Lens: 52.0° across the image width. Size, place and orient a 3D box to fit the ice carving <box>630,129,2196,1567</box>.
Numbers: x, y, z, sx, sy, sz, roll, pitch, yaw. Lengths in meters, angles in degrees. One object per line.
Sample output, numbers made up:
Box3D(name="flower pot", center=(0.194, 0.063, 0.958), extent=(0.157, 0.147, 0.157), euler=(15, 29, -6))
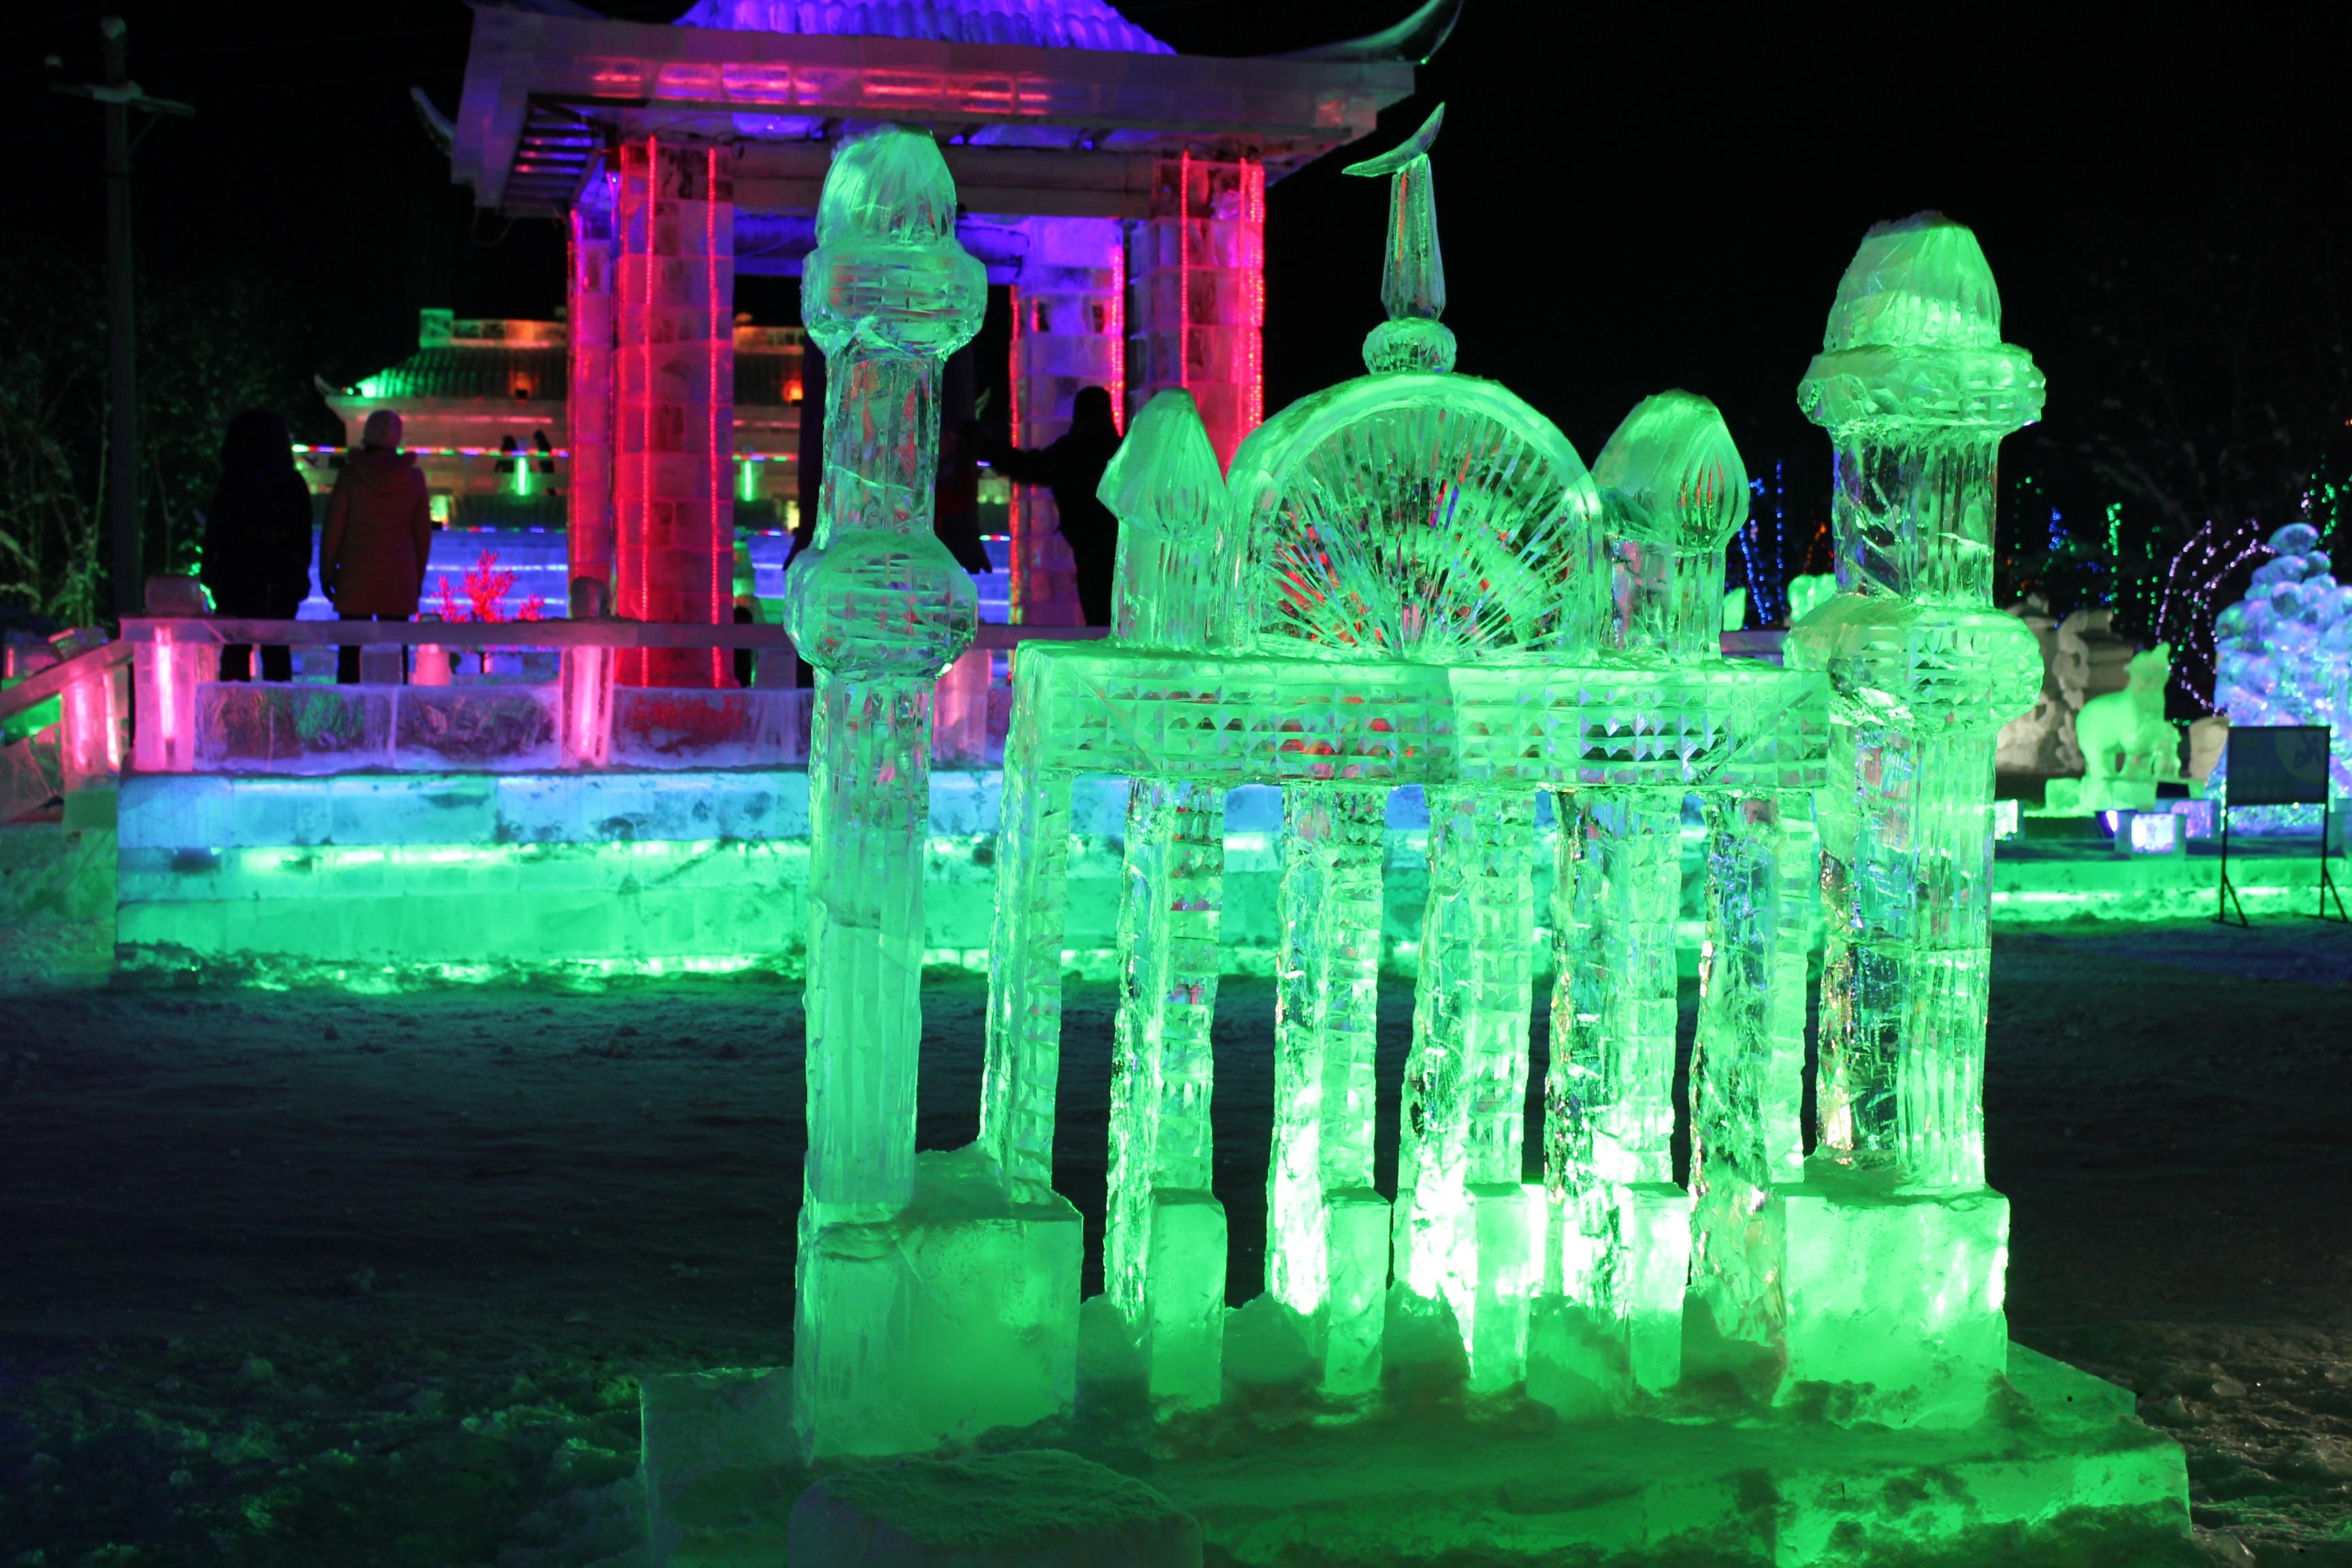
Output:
Box3D(name="ice carving", center=(0.660, 0.156, 6.248), extent=(3.386, 3.542, 1.074), euler=(0, 10, -8))

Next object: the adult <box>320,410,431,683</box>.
Box3D(name="adult", center=(-4.609, -1.547, 13.835), extent=(0.577, 1.168, 0.460), euler=(-3, 10, -20))

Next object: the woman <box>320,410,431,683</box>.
Box3D(name="woman", center=(-4.612, -1.546, 13.832), extent=(0.574, 1.168, 0.454), euler=(-2, 10, -19))

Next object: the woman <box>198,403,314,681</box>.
Box3D(name="woman", center=(-5.352, -1.562, 13.947), extent=(0.586, 1.161, 0.290), euler=(-3, 10, -20))

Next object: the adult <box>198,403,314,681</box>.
Box3D(name="adult", center=(-5.348, -1.561, 13.943), extent=(0.582, 1.161, 0.288), euler=(-3, 11, -23))
